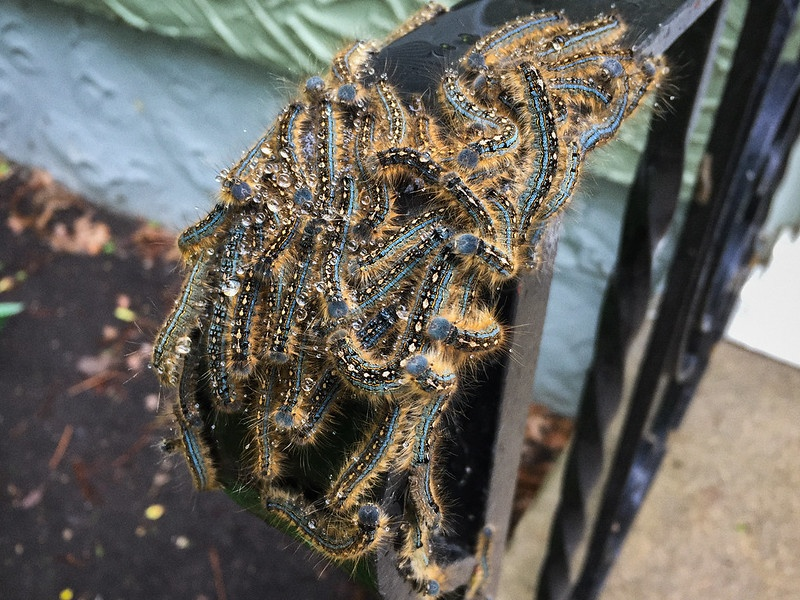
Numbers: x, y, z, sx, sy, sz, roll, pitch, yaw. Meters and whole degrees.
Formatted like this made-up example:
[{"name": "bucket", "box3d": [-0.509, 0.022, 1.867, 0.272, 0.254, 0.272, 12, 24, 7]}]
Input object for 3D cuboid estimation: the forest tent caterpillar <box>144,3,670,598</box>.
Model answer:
[{"name": "forest tent caterpillar", "box3d": [-0.022, -0.047, 2.023, 0.703, 0.688, 1.166, 24, 62, 22]}]
